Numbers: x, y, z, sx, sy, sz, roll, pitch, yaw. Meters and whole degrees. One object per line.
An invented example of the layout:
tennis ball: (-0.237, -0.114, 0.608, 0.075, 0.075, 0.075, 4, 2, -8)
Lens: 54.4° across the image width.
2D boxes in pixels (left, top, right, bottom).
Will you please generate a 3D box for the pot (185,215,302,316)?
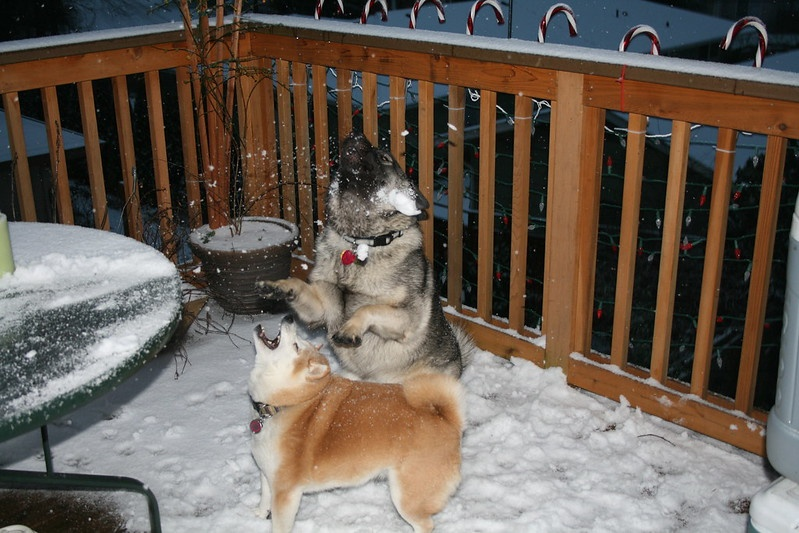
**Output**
pot: (-0.992, -0.077, 5.099, 0.564, 0.490, 0.638, 7, 24, 17)

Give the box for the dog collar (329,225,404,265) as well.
dog collar: (-0.172, -0.115, 4.164, 0.241, 0.089, 0.195, -18, 11, -10)

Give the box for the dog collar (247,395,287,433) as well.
dog collar: (-0.633, 0.683, 3.608, 0.108, 0.173, 0.059, 19, -7, 14)
